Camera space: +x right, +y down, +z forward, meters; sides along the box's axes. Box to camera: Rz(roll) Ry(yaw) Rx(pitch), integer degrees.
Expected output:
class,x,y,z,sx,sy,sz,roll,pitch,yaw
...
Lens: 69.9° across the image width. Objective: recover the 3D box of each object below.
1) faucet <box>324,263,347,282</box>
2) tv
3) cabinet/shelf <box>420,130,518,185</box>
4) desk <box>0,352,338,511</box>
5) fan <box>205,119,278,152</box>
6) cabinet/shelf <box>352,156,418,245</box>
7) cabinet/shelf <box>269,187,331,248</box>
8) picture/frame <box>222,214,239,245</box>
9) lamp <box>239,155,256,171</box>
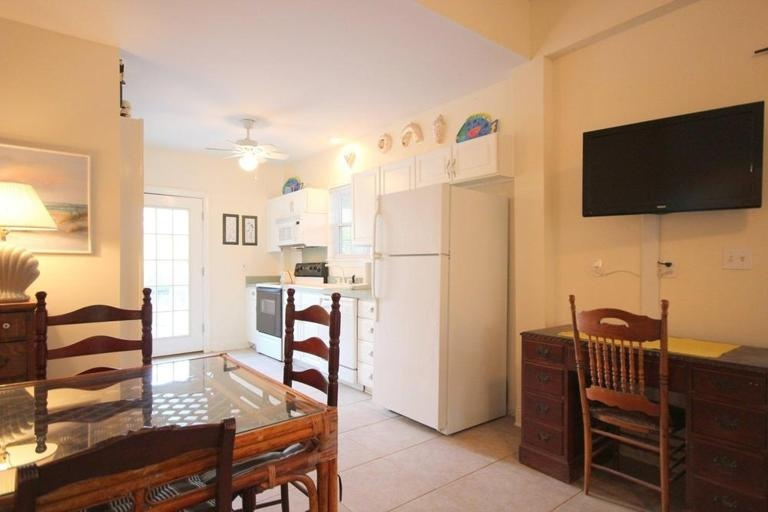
class,x,y,z,sx,sy,sz,roll,pitch,yaw
faucet,-0.618,0.229,7.230,0.137,0.263,0.453,-2,3,-28
tv,2.251,-0.722,4.167,1.046,0.653,0.113,0,0,42
cabinet/shelf,0.760,-0.911,5.468,0.288,0.362,1.028,3,-6,-45
desk,-1.213,0.881,3.111,1.292,0.595,1.213,-3,5,-35
fan,-1.521,-1.381,6.329,0.701,0.336,0.696,-11,19,-32
cabinet/shelf,0.021,-0.566,5.753,0.422,0.897,1.062,3,-5,-32
cabinet/shelf,-1.286,-0.477,7.808,0.475,0.766,1.263,-1,-4,-37
picture/frame,-2.173,-0.372,7.775,0.057,0.428,0.268,1,4,35
lamp,-1.537,-1.054,6.194,0.170,0.145,0.252,-2,3,-18
